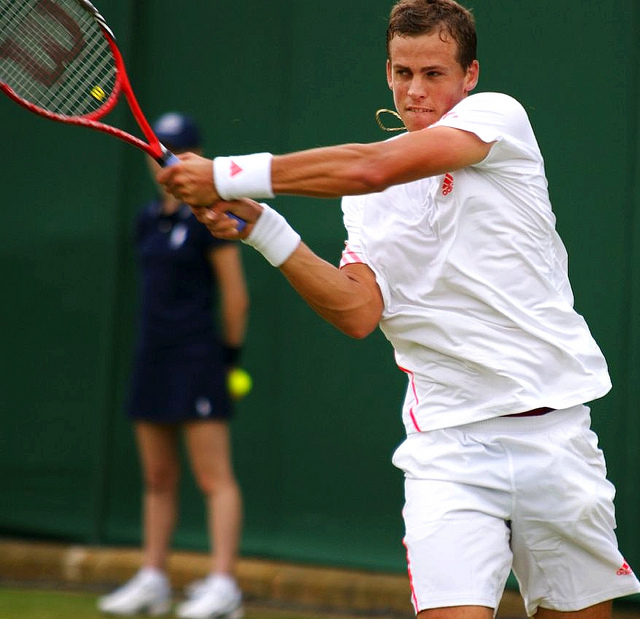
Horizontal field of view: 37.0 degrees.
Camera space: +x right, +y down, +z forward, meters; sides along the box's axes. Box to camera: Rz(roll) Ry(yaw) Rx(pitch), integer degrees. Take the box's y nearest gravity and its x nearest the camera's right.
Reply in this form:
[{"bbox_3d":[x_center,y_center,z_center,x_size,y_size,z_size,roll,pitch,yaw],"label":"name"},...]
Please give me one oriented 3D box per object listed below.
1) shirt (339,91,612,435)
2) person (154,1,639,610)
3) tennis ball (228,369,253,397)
[{"bbox_3d":[0.353,-0.090,2.136,0.612,0.757,0.256,4,6,2],"label":"shirt"},{"bbox_3d":[0.253,0.099,2.111,0.941,1.148,0.391,6,6,15],"label":"person"},{"bbox_3d":[-0.267,0.239,3.167,0.085,0.081,0.044,-1,5,-38],"label":"tennis ball"}]
